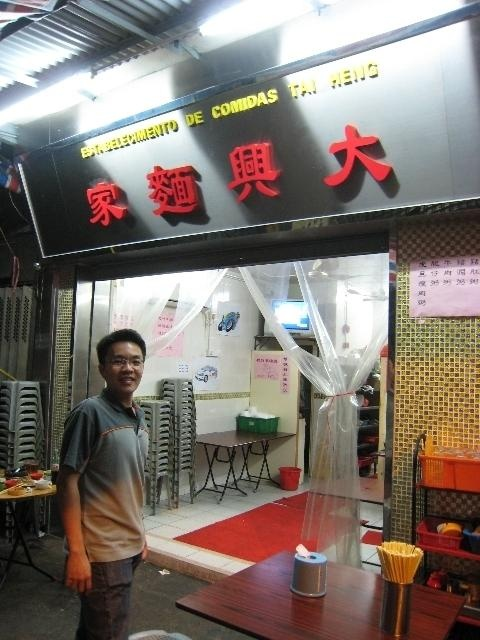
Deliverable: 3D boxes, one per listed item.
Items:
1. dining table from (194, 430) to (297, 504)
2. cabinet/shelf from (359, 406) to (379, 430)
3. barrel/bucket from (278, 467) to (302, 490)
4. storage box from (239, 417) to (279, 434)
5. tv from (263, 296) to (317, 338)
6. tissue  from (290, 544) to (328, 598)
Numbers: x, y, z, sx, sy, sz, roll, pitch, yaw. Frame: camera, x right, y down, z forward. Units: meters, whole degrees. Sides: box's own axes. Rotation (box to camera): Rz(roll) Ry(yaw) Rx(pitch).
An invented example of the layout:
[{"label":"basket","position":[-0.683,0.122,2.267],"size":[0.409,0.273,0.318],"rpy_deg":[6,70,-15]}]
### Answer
[{"label":"dining table","position":[-0.010,1.996,6.693],"size":[0.863,0.783,1.683],"rpy_deg":[-3,-8,26]},{"label":"cabinet/shelf","position":[2.096,1.583,7.699],"size":[0.307,0.354,0.767],"rpy_deg":[-1,-8,17]},{"label":"barrel/bucket","position":[0.695,2.244,6.707],"size":[0.279,0.217,0.293],"rpy_deg":[1,-1,0]},{"label":"storage box","position":[0.246,1.560,7.127],"size":[0.439,0.183,0.297],"rpy_deg":[1,-5,31]},{"label":"tv","position":[0.492,-0.046,4.723],"size":[0.595,0.438,0.322],"rpy_deg":[4,-12,-44]},{"label":"tissue ","position":[0.228,0.821,1.564],"size":[0.121,0.132,0.121],"rpy_deg":[-1,-8,38]}]
